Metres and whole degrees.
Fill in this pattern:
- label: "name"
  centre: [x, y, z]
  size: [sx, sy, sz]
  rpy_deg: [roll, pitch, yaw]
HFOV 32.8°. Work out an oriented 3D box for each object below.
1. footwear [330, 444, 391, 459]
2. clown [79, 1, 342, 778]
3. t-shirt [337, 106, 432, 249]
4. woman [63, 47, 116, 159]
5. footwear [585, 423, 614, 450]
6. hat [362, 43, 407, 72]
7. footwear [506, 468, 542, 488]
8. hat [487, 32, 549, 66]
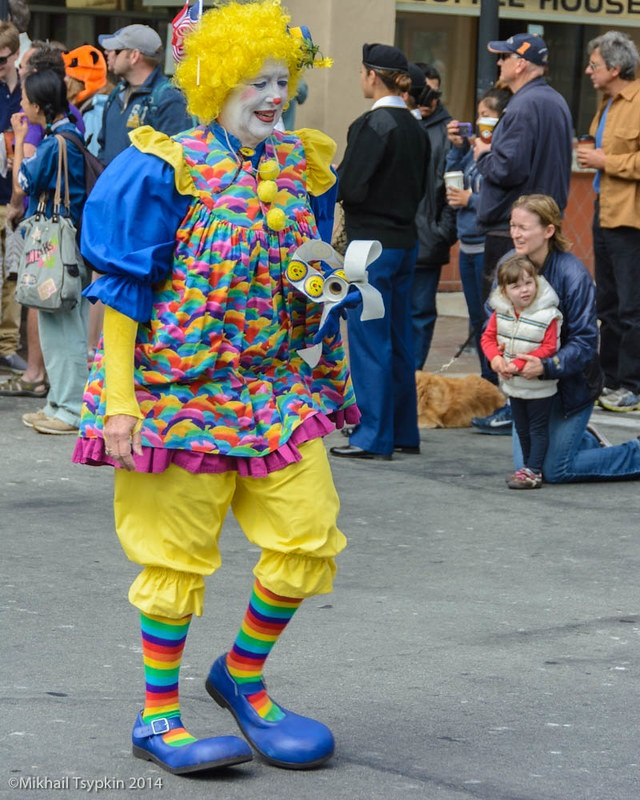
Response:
- label: "footwear"
  centre: [0.217, 0.285, 6.214]
  size: [0.354, 0.112, 0.107]
  rpy_deg: [3, 0, 11]
- label: "clown"
  centre: [-0.209, -0.045, 2.494]
  size: [0.684, 1.748, 0.517]
  rpy_deg: [0, 10, -18]
- label: "t-shirt"
  centre: [0.365, -1.220, 6.062]
  size: [0.561, 0.775, 0.384]
  rpy_deg: [1, 10, -10]
- label: "woman"
  centre: [-1.930, -2.451, 9.164]
  size: [0.417, 0.963, 0.315]
  rpy_deg: [10, 25, 17]
- label: "footwear"
  centre: [1.523, 0.223, 5.885]
  size: [0.063, 0.072, 0.270]
  rpy_deg: [-28, -50, 36]
- label: "hat"
  centre: [0.363, -1.870, 6.017]
  size: [0.242, 0.173, 0.197]
  rpy_deg: [3, 9, 2]
- label: "footwear"
  centre: [1.053, 0.412, 5.596]
  size: [0.235, 0.080, 0.073]
  rpy_deg: [1, -2, -14]
- label: "hat"
  centre: [1.162, -2.124, 6.740]
  size: [0.443, 0.164, 0.243]
  rpy_deg: [11, 26, 9]
